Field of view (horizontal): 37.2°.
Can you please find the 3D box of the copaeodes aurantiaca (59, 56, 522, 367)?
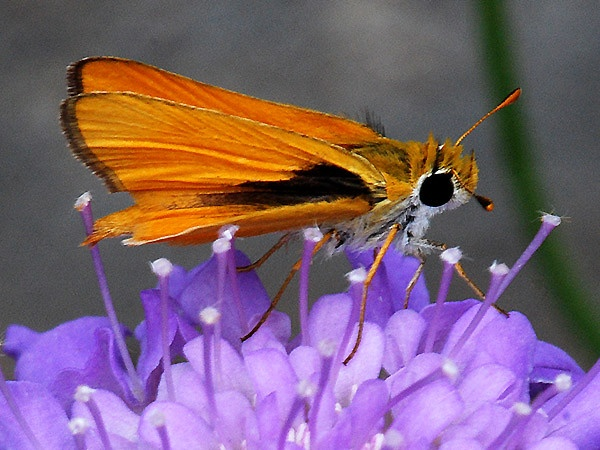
[{"bbox_3d":[-0.020,0.024,1.001,0.414,0.268,0.311,2,-11,-3],"label":"copaeodes aurantiaca"}]
